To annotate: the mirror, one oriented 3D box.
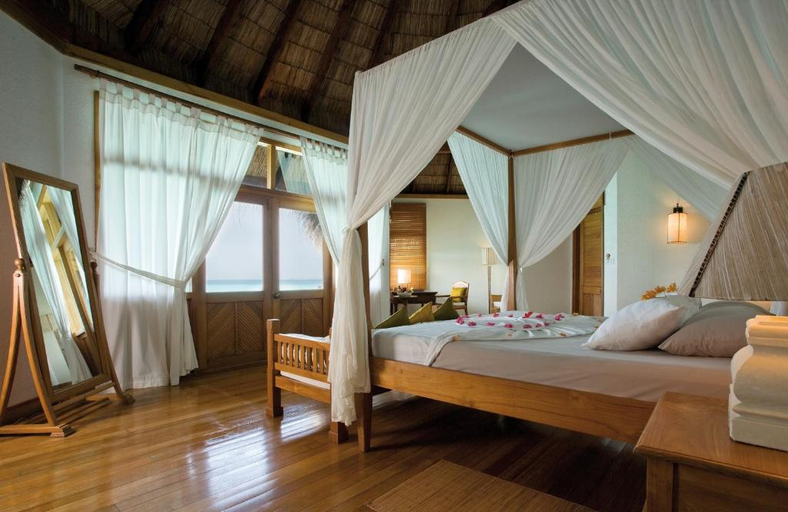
[{"bbox_3d":[-3.015,0.220,4.343,0.450,2.068,0.911,2,11,14],"label":"mirror"}]
